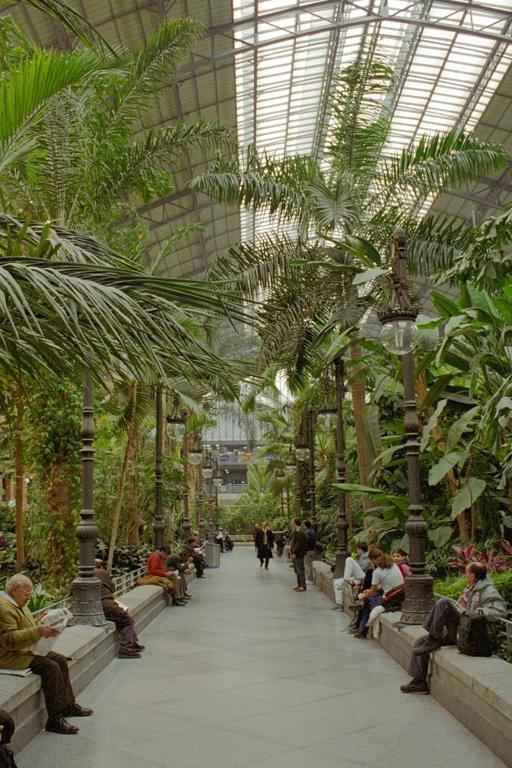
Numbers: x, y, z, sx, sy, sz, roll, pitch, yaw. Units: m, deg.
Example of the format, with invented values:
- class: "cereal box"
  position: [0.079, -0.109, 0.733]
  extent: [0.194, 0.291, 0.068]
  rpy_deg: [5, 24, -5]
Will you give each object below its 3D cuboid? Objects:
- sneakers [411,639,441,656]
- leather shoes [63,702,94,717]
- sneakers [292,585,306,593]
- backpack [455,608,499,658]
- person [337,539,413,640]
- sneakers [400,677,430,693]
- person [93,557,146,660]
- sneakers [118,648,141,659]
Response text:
- class: "sneakers"
  position: [1.509, 2.355, 4.896]
  extent: [0.284, 0.123, 0.114]
  rpy_deg: [-33, 8, 32]
- class: "leather shoes"
  position: [-1.412, 2.592, 4.376]
  extent: [0.260, 0.114, 0.088]
  rpy_deg: [1, -3, -3]
- class: "sneakers"
  position: [1.262, 5.868, 15.661]
  extent: [0.311, 0.302, 0.151]
  rpy_deg: [7, -12, 1]
- class: "backpack"
  position: [1.790, 1.973, 4.469]
  extent: [0.300, 0.384, 0.400]
  rpy_deg: [4, -18, 11]
- class: "person"
  position: [1.828, 3.228, 8.265]
  extent: [0.616, 1.572, 1.434]
  rpy_deg: [5, -4, 5]
- class: "sneakers"
  position: [1.472, 2.795, 5.074]
  extent: [0.250, 0.175, 0.099]
  rpy_deg: [1, -19, 9]
- class: "person"
  position: [-1.847, 3.087, 7.330]
  extent: [0.744, 0.770, 0.460]
  rpy_deg: [6, -4, -12]
- class: "sneakers"
  position: [-1.676, 3.562, 7.264]
  extent: [0.311, 0.151, 0.116]
  rpy_deg: [2, -1, -1]
